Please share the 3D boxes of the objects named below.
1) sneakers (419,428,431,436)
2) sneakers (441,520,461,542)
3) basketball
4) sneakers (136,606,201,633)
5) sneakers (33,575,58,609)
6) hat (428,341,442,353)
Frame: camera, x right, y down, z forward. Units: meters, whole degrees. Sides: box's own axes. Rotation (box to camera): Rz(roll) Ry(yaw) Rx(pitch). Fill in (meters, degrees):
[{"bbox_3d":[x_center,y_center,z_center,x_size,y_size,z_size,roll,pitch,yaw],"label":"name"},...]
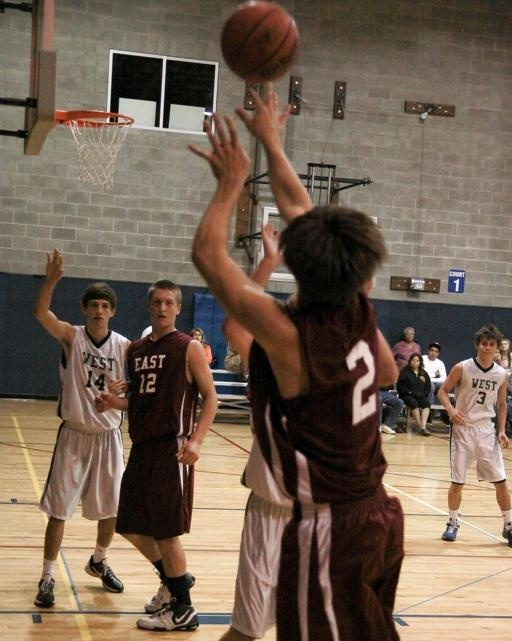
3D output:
[{"bbox_3d":[2.498,1.642,10.446,0.088,0.109,0.260,1,-11,-6],"label":"sneakers"},{"bbox_3d":[1.378,1.490,5.054,0.070,0.093,0.208,-3,-4,18],"label":"sneakers"},{"bbox_3d":[0.010,-0.829,2.108,0.230,0.252,0.164,4,-1,-7],"label":"basketball"},{"bbox_3d":[-0.372,1.318,3.184,0.299,0.128,0.108,3,-10,1],"label":"sneakers"},{"bbox_3d":[-0.994,1.279,3.344,0.091,0.134,0.131,4,-1,-17],"label":"sneakers"},{"bbox_3d":[2.837,0.429,11.182,0.166,0.204,0.222,2,-29,14],"label":"hat"}]
